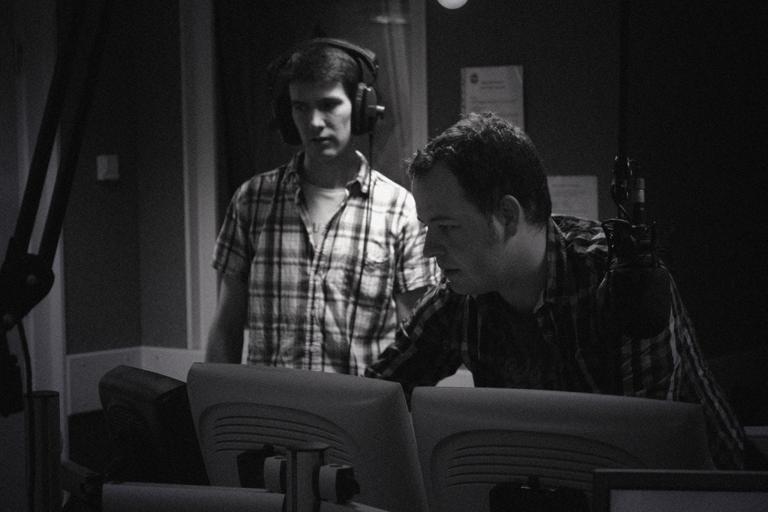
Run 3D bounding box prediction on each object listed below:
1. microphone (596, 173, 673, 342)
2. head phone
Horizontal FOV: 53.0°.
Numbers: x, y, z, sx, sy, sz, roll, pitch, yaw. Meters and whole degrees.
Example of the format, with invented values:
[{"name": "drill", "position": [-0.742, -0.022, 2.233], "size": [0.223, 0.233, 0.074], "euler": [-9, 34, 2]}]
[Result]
[{"name": "microphone", "position": [0.489, 0.005, 1.481], "size": [0.116, 0.338, 0.120], "euler": [-7, 4, -39]}, {"name": "head phone", "position": [-0.186, -0.521, 2.369], "size": [0.337, 0.335, 0.273], "euler": [1, -5, -9]}]
